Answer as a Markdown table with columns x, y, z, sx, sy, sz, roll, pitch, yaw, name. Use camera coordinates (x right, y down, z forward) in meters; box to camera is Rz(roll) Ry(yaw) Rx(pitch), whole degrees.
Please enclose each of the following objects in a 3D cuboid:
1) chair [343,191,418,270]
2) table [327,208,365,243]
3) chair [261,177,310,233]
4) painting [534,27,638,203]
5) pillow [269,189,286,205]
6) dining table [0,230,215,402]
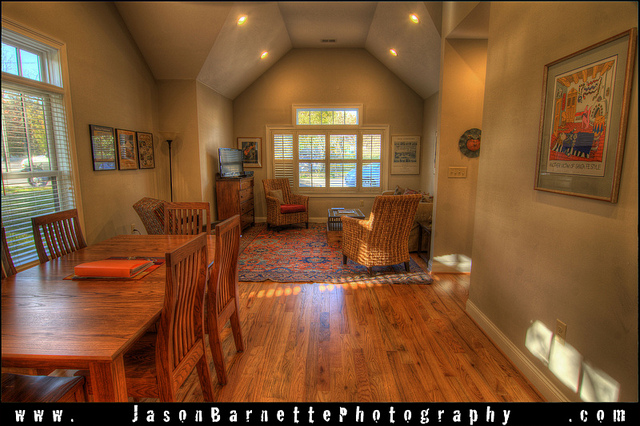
| x | y | z | sx | sy | sz | roll | pitch | yaw | name |
| --- | --- | --- | --- | --- | --- | --- | --- | --- | --- |
| 0.794 | 0.183 | 4.883 | 0.825 | 0.884 | 0.813 | -6 | 12 | -39 | chair |
| 0.494 | 0.259 | 6.631 | 0.616 | 0.398 | 0.840 | -2 | -2 | 10 | table |
| -0.615 | -0.183 | 7.416 | 0.808 | 0.926 | 0.906 | -3 | 11 | -23 | chair |
| 1.751 | -0.633 | 2.627 | 0.134 | 1.040 | 0.635 | -1 | 11 | -13 | painting |
| -0.806 | -0.313 | 7.448 | 0.224 | 0.259 | 0.438 | 7 | 11 | 29 | pillow |
| -1.376 | 0.708 | 2.563 | 0.688 | 0.586 | 1.184 | 1 | 12 | -2 | dining table |
